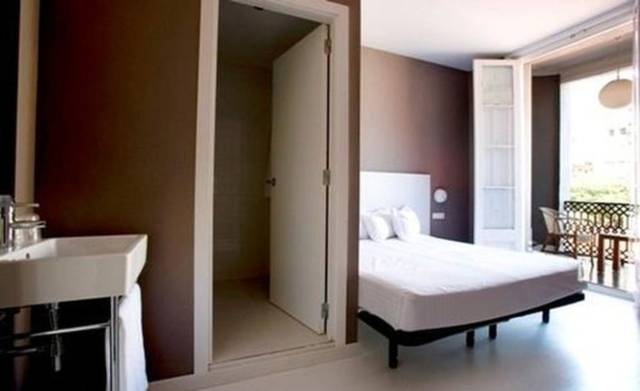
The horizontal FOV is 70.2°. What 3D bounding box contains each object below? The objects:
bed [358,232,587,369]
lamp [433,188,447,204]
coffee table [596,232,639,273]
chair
[{"bbox_3d":[1.359,0.911,4.413,1.469,0.404,1.456,-3,3,-24],"label":"bed"},{"bbox_3d":[1.881,-0.004,7.088,0.300,0.228,0.099,-5,5,-38],"label":"lamp"},{"bbox_3d":[4.249,0.803,6.599,0.355,0.552,0.752,1,5,44],"label":"coffee table"},{"bbox_3d":[4.001,0.630,7.390,0.904,1.202,0.888,-4,-3,45],"label":"chair"}]
